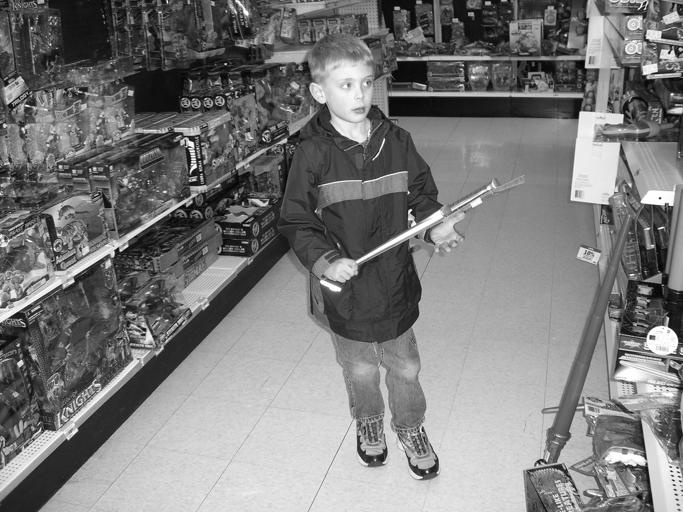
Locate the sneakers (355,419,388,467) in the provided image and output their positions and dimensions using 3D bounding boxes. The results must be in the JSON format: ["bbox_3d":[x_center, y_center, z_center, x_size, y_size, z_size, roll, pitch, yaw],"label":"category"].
[{"bbox_3d":[0.132,0.797,2.059,0.089,0.107,0.250,-3,29,0],"label":"sneakers"}]

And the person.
[{"bbox_3d":[0.099,0.079,1.842,0.618,1.690,0.485,-6,23,-6],"label":"person"}]

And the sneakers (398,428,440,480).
[{"bbox_3d":[0.323,0.811,2.066,0.130,0.133,0.308,-5,18,-11],"label":"sneakers"}]
